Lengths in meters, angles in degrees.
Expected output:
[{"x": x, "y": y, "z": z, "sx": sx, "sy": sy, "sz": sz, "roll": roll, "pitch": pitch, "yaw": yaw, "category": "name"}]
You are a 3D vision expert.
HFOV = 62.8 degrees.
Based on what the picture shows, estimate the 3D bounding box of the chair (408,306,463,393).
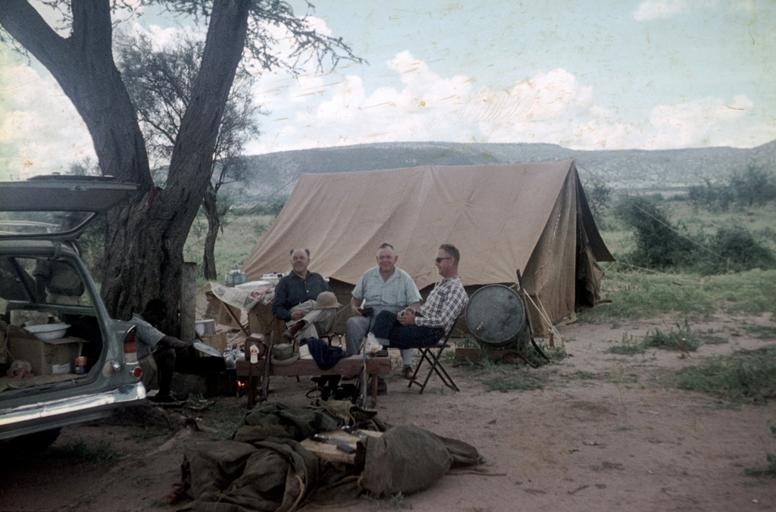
[{"x": 0.652, "y": 1.447, "z": 9.246, "sx": 0.995, "sy": 1.346, "sz": 0.850, "roll": 2, "pitch": -1, "yaw": -6, "category": "chair"}]

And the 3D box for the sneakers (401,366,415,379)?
[{"x": 0.287, "y": 1.678, "z": 9.105, "sx": 0.136, "sy": 0.138, "sz": 0.332, "roll": -1, "pitch": -9, "yaw": -5, "category": "sneakers"}]

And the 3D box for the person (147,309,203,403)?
[{"x": -2.970, "y": 1.214, "z": 8.199, "sx": 0.807, "sy": 1.227, "sz": 0.693, "roll": -2, "pitch": 3, "yaw": -9, "category": "person"}]

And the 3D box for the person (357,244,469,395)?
[{"x": -0.104, "y": 0.750, "z": 8.799, "sx": 1.294, "sy": 1.767, "sz": 1.178, "roll": -3, "pitch": 11, "yaw": -16, "category": "person"}]

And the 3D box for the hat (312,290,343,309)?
[{"x": -0.815, "y": 0.610, "z": 8.574, "sx": 0.355, "sy": 0.241, "sz": 0.286, "roll": -3, "pitch": 12, "yaw": -13, "category": "hat"}]

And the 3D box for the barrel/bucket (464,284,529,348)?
[{"x": 1.792, "y": 0.864, "z": 10.072, "sx": 0.941, "sy": 0.919, "sz": 0.990, "roll": -31, "pitch": -13, "yaw": -8, "category": "barrel/bucket"}]

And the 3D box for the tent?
[{"x": 0.846, "y": -0.634, "z": 12.383, "sx": 4.845, "sy": 1.774, "sz": 4.602, "roll": 2, "pitch": 8, "yaw": 20, "category": "tent"}]

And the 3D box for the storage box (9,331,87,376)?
[{"x": -3.753, "y": 1.019, "z": 7.061, "sx": 0.635, "sy": 0.399, "sz": 0.466, "roll": 12, "pitch": 0, "yaw": 12, "category": "storage box"}]
